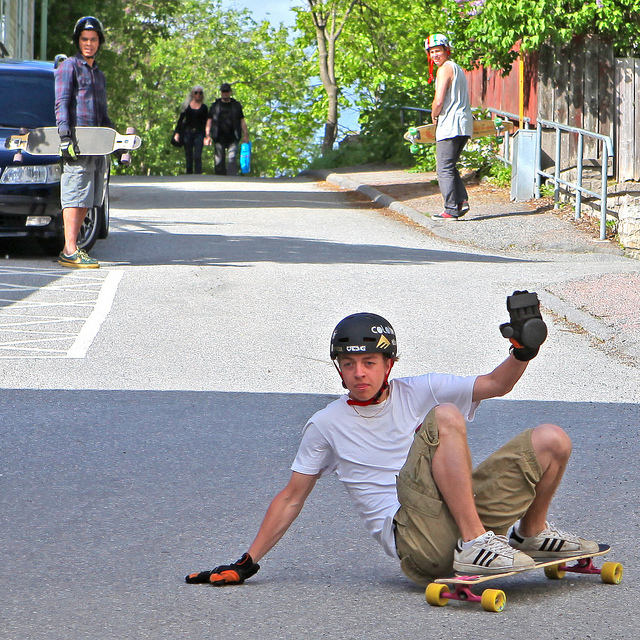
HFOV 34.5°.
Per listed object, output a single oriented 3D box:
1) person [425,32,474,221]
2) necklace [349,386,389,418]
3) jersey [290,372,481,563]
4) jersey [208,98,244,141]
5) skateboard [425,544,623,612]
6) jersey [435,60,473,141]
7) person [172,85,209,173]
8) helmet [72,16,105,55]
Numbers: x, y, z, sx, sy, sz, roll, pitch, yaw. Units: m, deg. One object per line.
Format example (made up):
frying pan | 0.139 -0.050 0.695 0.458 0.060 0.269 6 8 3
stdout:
person | 1.868 -2.736 14.798 0.710 2.675 0.785 3 16 6
necklace | 0.181 0.289 3.646 0.118 0.113 0.033 -3 -4 4
jersey | 0.238 0.529 3.739 0.664 0.645 0.300 1 15 0
jersey | -2.177 -4.488 23.551 0.949 1.224 0.370 5 36 -7
skateboard | 0.738 0.878 3.696 0.714 0.093 0.258 -2 1 -39
jersey | 1.956 -3.114 14.650 0.542 1.130 0.403 -4 16 -19
person | -3.010 -4.369 23.833 0.779 1.991 0.987 -6 17 -23
helmet | -2.386 -2.958 10.728 0.391 0.386 0.430 -1 18 -9
